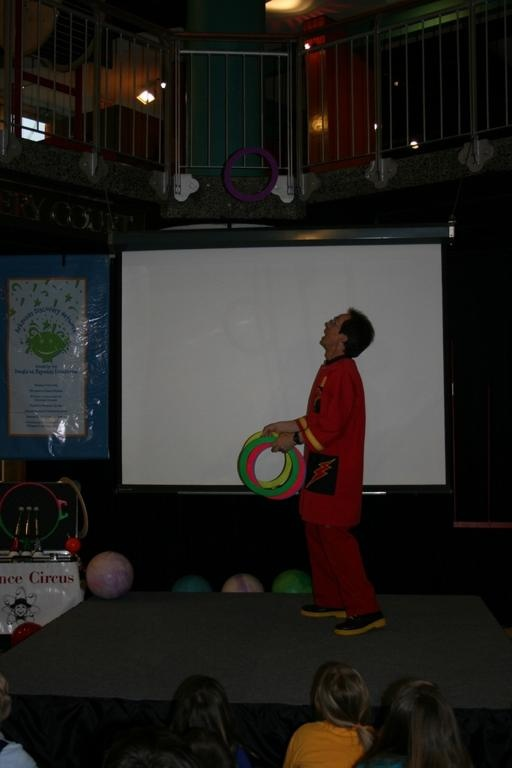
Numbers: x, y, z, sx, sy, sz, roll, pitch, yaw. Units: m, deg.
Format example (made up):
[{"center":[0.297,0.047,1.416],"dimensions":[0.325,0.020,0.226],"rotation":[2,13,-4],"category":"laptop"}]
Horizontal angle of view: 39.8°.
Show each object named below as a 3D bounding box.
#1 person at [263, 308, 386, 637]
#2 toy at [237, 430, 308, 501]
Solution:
[{"center":[0.408,0.457,4.063],"dimensions":[0.568,1.727,0.816],"rotation":[-1,3,3],"category":"person"},{"center":[0.088,0.459,4.221],"dimensions":[0.330,0.445,0.136],"rotation":[-23,0,18],"category":"toy"}]
